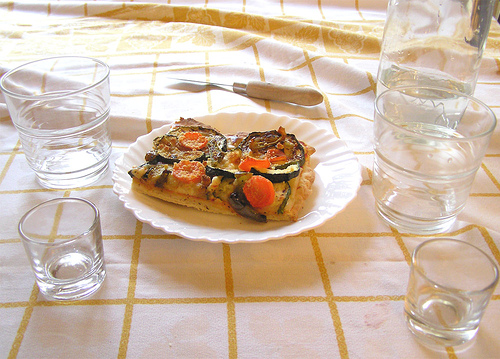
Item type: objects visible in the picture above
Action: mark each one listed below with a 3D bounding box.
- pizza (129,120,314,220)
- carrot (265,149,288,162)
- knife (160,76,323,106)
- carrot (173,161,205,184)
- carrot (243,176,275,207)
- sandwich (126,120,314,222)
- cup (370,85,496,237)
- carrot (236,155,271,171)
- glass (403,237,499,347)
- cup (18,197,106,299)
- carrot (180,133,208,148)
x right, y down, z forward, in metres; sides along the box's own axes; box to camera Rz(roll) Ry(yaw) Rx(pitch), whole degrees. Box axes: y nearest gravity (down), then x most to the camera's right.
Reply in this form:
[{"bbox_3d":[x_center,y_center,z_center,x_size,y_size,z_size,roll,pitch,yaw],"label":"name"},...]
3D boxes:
[{"bbox_3d":[-0.099,-0.035,1.790,0.611,0.148,0.425,10,39,11],"label":"pizza"},{"bbox_3d":[0.114,-0.103,1.839,0.069,0.014,0.055,-1,39,-3],"label":"carrot"},{"bbox_3d":[-0.003,-0.498,2.515,1.064,0.120,0.138,9,36,12],"label":"knife"},{"bbox_3d":[-0.259,-0.034,1.796,0.112,0.027,0.103,-21,47,-24],"label":"carrot"},{"bbox_3d":[0.038,0.026,1.751,0.150,0.033,0.147,-19,5,6],"label":"carrot"},{"bbox_3d":[-0.108,-0.036,1.797,0.675,0.170,0.421,7,39,9],"label":"sandwich"},{"bbox_3d":[0.696,-0.084,1.691,0.426,0.539,0.512,26,38,30],"label":"cup"},{"bbox_3d":[0.020,-0.074,1.791,0.146,0.046,0.108,-1,30,-7],"label":"carrot"},{"bbox_3d":[0.604,0.384,1.407,0.288,0.340,0.256,-15,41,-19],"label":"glass"},{"bbox_3d":[-0.633,0.244,1.481,0.242,0.311,0.231,3,33,-2],"label":"cup"},{"bbox_3d":[-0.249,-0.173,1.914,0.087,0.018,0.082,20,28,33],"label":"carrot"}]
